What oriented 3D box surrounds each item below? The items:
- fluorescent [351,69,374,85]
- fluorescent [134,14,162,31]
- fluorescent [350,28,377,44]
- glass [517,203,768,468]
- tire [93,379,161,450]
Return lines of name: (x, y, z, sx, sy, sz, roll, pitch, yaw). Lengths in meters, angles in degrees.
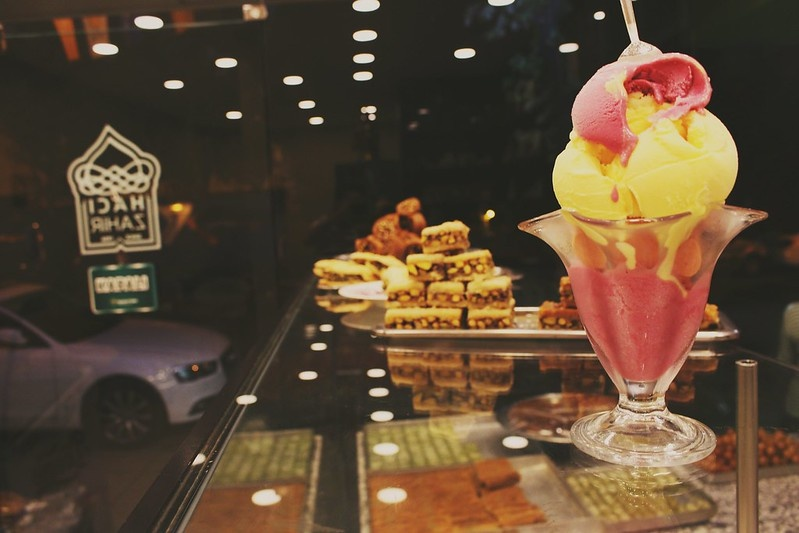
fluorescent: (-0.123, -0.639, 2.463, 0.071, 0.042, 0.013, -5, 11, -5)
fluorescent: (-0.839, -0.806, 2.423, 0.066, 0.014, 0.058, -3, 48, -11)
fluorescent: (-0.116, -0.765, 2.433, 0.082, 0.042, 0.006, -3, 12, 8)
glass: (0.426, 0.107, 1.579, 0.517, 0.439, 0.480, -2, 3, -1)
tire: (-0.929, 0.491, 2.457, 0.258, 0.213, 0.132, -8, 11, -18)
